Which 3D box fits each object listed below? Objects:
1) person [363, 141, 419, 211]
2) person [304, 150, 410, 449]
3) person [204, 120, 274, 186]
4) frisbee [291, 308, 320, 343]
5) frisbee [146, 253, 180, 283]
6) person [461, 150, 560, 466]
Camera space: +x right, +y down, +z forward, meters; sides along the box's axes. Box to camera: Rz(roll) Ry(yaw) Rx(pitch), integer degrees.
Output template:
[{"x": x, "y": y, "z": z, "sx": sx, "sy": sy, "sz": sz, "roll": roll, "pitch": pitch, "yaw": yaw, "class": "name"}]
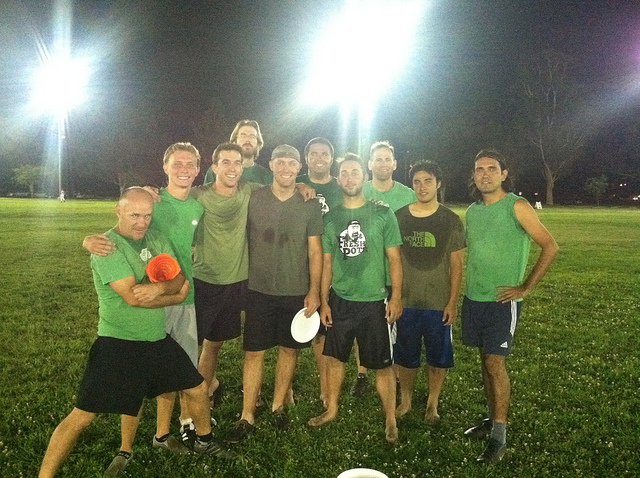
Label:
[{"x": 1.026, "y": -0.959, "z": 7.802, "sx": 1.242, "sy": 1.271, "sz": 0.638, "roll": 3, "pitch": -4, "yaw": 19, "class": "person"}, {"x": 0.530, "y": 0.714, "z": 6.524, "sx": 1.268, "sy": 3.688, "sz": 0.981, "roll": 3, "pitch": 11, "yaw": 12, "class": "person"}, {"x": -1.272, "y": -1.450, "z": 8.141, "sx": 1.101, "sy": 1.235, "sz": 0.570, "roll": 2, "pitch": -6, "yaw": -13, "class": "person"}, {"x": -0.230, "y": 1.234, "z": 6.587, "sx": 0.399, "sy": 0.449, "sz": 0.069, "roll": -6, "pitch": 11, "yaw": -41, "class": "frisbee"}, {"x": -1.892, "y": 0.389, "z": 5.659, "sx": 0.316, "sy": 0.327, "sz": 0.216, "roll": -38, "pitch": 13, "yaw": -31, "class": "frisbee"}, {"x": 2.446, "y": 0.765, "z": 6.344, "sx": 0.973, "sy": 3.810, "sz": 1.455, "roll": 2, "pitch": 11, "yaw": 3, "class": "person"}]
